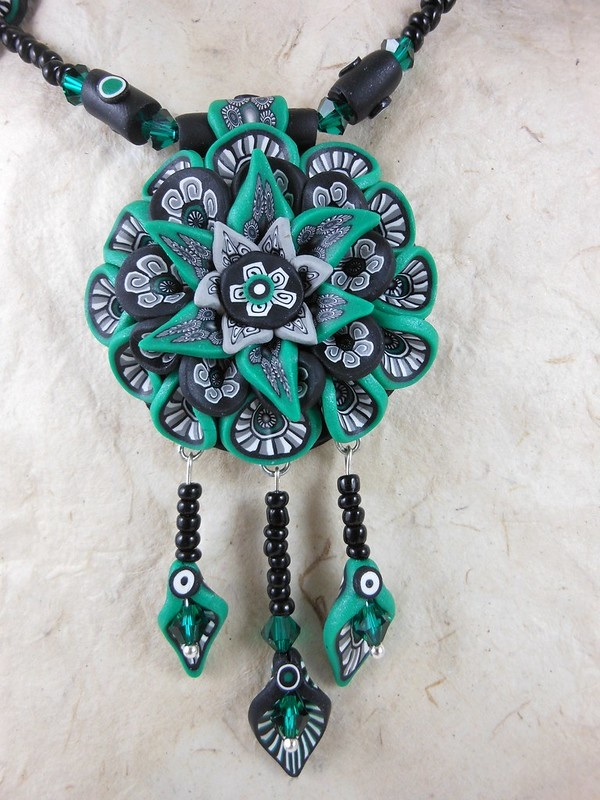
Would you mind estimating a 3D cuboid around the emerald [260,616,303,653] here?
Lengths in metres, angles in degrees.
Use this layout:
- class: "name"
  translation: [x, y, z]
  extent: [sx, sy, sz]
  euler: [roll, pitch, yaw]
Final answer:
- class: "emerald"
  translation: [-0.028, 0.391, 1.479]
  extent: [0.069, 0.061, 0.052]
  euler: [3, 60, -13]

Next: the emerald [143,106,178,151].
- class: "emerald"
  translation: [-0.240, -0.475, 1.553]
  extent: [0.075, 0.073, 0.062]
  euler: [2, 92, -5]
